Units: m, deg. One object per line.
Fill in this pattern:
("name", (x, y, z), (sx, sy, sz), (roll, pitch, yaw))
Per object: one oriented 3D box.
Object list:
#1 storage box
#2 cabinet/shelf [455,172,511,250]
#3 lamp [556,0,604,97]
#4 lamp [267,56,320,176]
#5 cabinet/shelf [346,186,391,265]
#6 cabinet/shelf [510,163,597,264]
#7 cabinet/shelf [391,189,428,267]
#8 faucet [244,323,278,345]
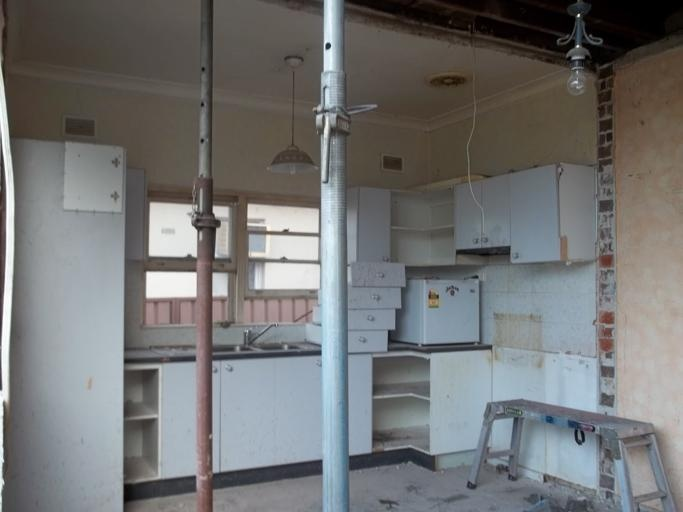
("storage box", (0.239, 0.486, 5.796), (0.707, 1.177, 0.767), (3, -6, -29))
("cabinet/shelf", (1.278, -0.378, 5.432), (0.215, 0.628, 0.608), (2, -5, -32))
("lamp", (1.642, -1.400, 4.194), (0.282, 0.759, 0.934), (-1, -3, 22))
("lamp", (-0.404, -1.174, 5.061), (0.395, 0.892, 0.398), (-1, 4, -25))
("cabinet/shelf", (0.266, -0.297, 5.842), (0.407, 0.687, 0.165), (0, -3, -2))
("cabinet/shelf", (1.766, -0.318, 5.120), (0.581, 0.805, 0.576), (-6, -9, 38))
("cabinet/shelf", (0.716, -0.272, 6.241), (0.597, 0.709, 0.237), (3, -3, -40))
("faucet", (-0.743, 0.722, 5.635), (0.399, 0.205, 0.200), (3, -4, -36))
